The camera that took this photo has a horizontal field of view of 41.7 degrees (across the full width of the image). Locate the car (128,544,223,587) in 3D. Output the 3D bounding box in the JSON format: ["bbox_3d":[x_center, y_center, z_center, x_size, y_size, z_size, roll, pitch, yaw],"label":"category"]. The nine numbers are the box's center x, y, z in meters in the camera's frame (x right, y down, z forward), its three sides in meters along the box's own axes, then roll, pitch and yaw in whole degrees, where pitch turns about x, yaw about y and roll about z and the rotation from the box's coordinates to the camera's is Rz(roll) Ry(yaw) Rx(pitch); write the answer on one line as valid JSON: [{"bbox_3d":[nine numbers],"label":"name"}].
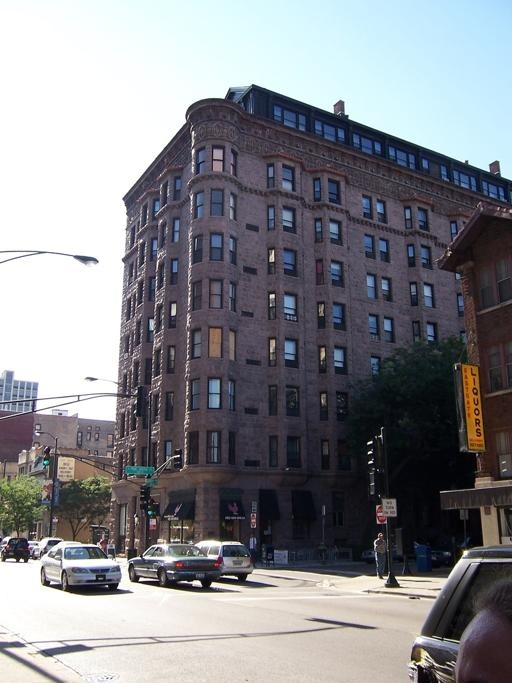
[{"bbox_3d":[-3.081,7.686,23.655,1.604,1.059,3.443,14,-19,-33],"label":"car"}]

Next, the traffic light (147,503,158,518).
[{"bbox_3d":[-5.208,8.475,33.746,0.515,0.688,1.087,3,-16,-10],"label":"traffic light"}]

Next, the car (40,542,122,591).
[{"bbox_3d":[-5.757,7.155,21.638,1.458,0.952,3.027,9,-23,-27],"label":"car"}]

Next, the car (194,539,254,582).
[{"bbox_3d":[-1.135,8.696,26.639,1.506,1.219,2.909,6,-12,-20],"label":"car"}]
